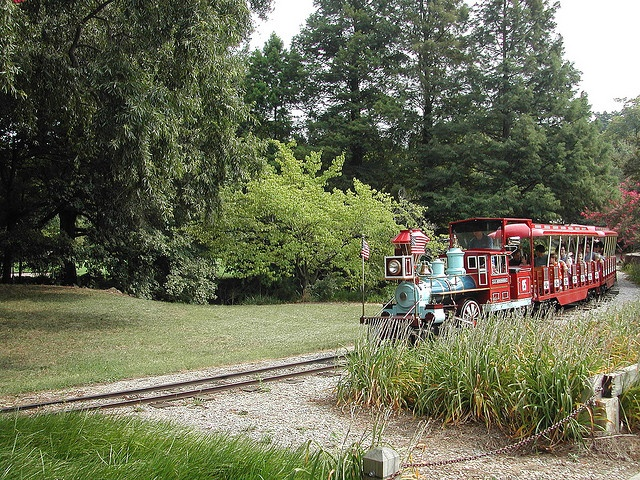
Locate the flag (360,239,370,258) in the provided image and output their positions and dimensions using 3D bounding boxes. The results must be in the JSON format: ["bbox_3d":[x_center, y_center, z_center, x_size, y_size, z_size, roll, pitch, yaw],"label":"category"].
[{"bbox_3d":[1.580,0.339,19.733,0.120,0.909,0.821,-2,-2,17],"label":"flag"}]

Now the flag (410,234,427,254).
[{"bbox_3d":[2.445,0.117,13.944,0.446,0.427,0.086,-3,2,-43],"label":"flag"}]
